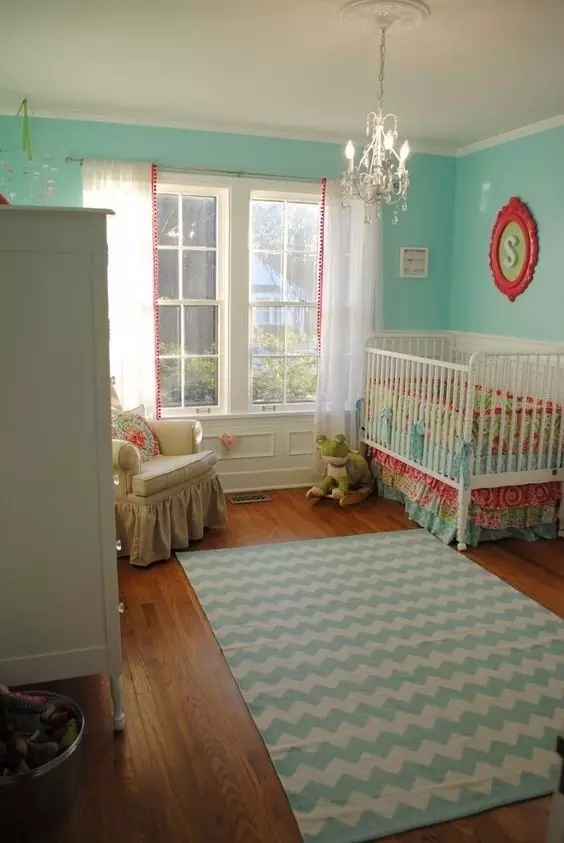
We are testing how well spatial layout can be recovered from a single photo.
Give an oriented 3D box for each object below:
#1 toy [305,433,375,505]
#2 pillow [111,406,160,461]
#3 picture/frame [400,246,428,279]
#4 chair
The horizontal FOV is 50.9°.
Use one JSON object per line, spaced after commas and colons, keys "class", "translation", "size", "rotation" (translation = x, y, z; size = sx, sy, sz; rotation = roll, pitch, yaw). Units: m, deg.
{"class": "toy", "translation": [0.458, 0.318, 4.352], "size": [0.355, 0.547, 0.548], "rotation": [4, 12, 36]}
{"class": "pillow", "translation": [-0.865, 0.052, 3.483], "size": [0.100, 0.308, 0.305], "rotation": [-30, -9, 23]}
{"class": "picture/frame", "translation": [1.024, -1.260, 4.650], "size": [0.238, 0.254, 0.033], "rotation": [-2, 8, -21]}
{"class": "chair", "translation": [-0.806, 0.190, 3.453], "size": [0.764, 0.933, 0.678], "rotation": [1, 13, 33]}
